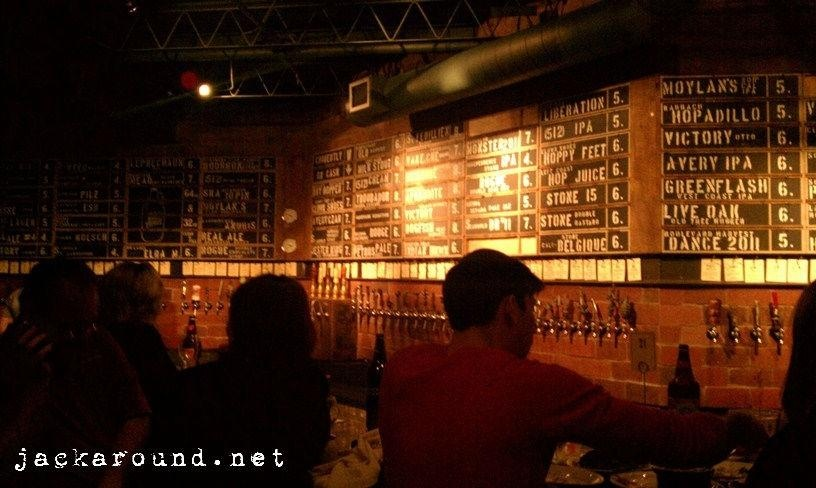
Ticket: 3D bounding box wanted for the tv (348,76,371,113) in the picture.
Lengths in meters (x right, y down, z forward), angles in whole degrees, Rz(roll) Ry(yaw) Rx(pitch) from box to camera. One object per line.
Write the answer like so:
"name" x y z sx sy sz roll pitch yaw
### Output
"tv" -0.548 -1.622 6.947 0.086 0.344 0.385 4 -6 -41
